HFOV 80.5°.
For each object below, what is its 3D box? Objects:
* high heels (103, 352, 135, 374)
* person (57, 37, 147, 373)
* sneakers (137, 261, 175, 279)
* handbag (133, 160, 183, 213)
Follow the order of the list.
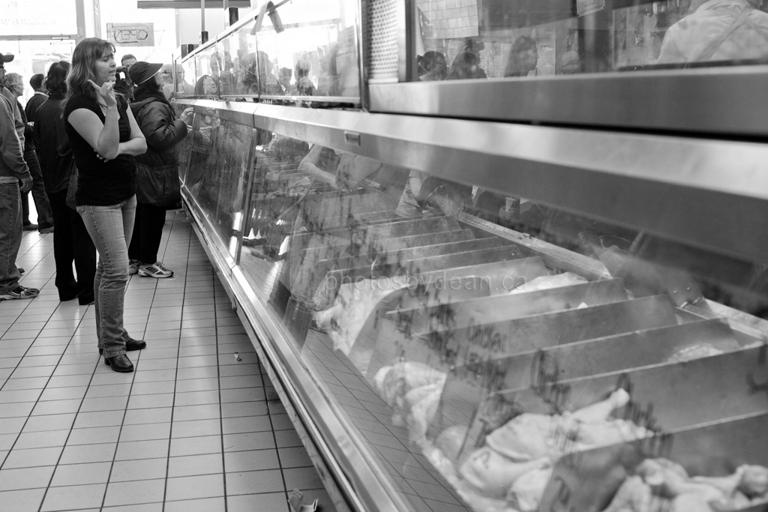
[{"bbox_3d":[-2.120,0.815,3.638,0.313,0.147,0.114,8,9,38],"label":"high heels"},{"bbox_3d":[-2.122,-0.367,3.534,0.551,2.448,0.652,-5,15,-12],"label":"person"},{"bbox_3d":[-2.849,0.168,5.746,0.449,0.209,0.194,4,8,-3],"label":"sneakers"},{"bbox_3d":[-2.794,-0.888,5.605,0.411,0.554,0.546,-2,13,-30],"label":"handbag"}]
